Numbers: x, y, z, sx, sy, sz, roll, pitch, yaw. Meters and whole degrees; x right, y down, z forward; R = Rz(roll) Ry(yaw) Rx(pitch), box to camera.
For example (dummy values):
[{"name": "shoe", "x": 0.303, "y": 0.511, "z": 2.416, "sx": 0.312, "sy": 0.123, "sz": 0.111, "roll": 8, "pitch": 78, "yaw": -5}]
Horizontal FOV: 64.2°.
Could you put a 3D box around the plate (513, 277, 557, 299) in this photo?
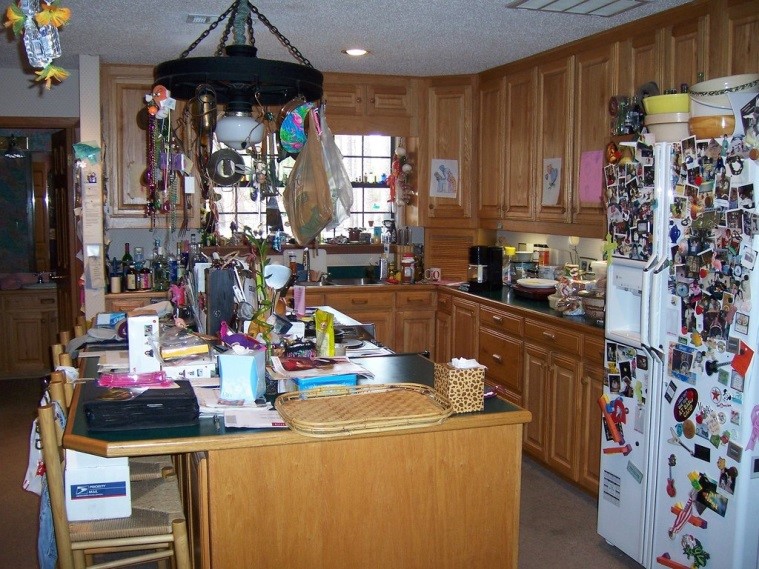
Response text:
[{"name": "plate", "x": 1.254, "y": 0.030, "z": 4.828, "sx": 0.250, "sy": 0.143, "sz": 0.358, "roll": -4, "pitch": 7, "yaw": -20}]

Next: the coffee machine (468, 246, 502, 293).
[{"name": "coffee machine", "x": 0.893, "y": -0.138, "z": 5.280, "sx": 0.339, "sy": 0.483, "sz": 0.367, "roll": 0, "pitch": 3, "yaw": -1}]

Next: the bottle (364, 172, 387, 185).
[{"name": "bottle", "x": -0.042, "y": -1.091, "z": 6.330, "sx": 0.145, "sy": 0.093, "sz": 0.147, "roll": 0, "pitch": 2, "yaw": 0}]

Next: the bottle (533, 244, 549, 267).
[{"name": "bottle", "x": 1.405, "y": -0.249, "z": 5.236, "sx": 0.079, "sy": 0.247, "sz": 0.177, "roll": -3, "pitch": 8, "yaw": -16}]

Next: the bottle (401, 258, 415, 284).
[{"name": "bottle", "x": 0.282, "y": -0.140, "z": 5.860, "sx": 0.124, "sy": 0.236, "sz": 0.130, "roll": -2, "pitch": 7, "yaw": 0}]

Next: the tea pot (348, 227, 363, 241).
[{"name": "tea pot", "x": -0.250, "y": -0.511, "z": 6.255, "sx": 0.133, "sy": 0.132, "sz": 0.054, "roll": -2, "pitch": 7, "yaw": -1}]

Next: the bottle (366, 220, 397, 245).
[{"name": "bottle", "x": 0.046, "y": -0.539, "z": 6.268, "sx": 0.296, "sy": 0.239, "sz": 0.207, "roll": 0, "pitch": 7, "yaw": 14}]

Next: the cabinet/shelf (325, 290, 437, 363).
[{"name": "cabinet/shelf", "x": 0.015, "y": 0.463, "z": 5.929, "sx": 1.046, "sy": 1.001, "sz": 0.582, "roll": 0, "pitch": 9, "yaw": -8}]

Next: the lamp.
[{"name": "lamp", "x": -0.603, "y": -1.008, "z": 2.789, "sx": 0.695, "sy": 0.683, "sz": 0.741, "roll": 1, "pitch": -13, "yaw": -7}]
